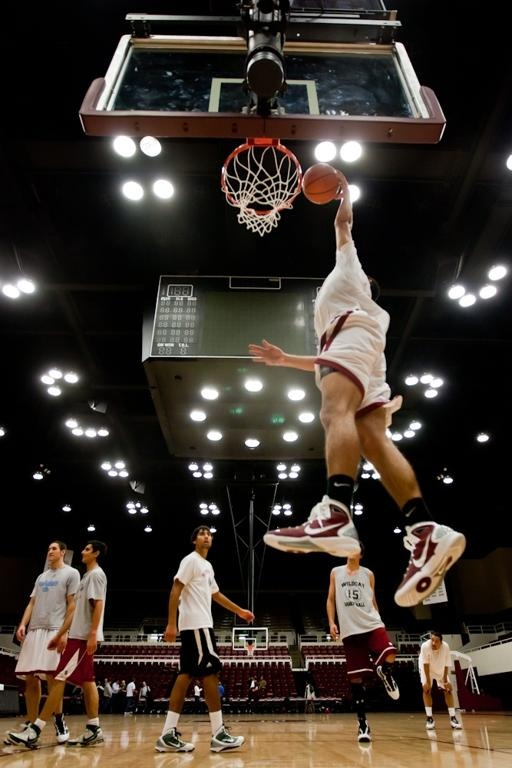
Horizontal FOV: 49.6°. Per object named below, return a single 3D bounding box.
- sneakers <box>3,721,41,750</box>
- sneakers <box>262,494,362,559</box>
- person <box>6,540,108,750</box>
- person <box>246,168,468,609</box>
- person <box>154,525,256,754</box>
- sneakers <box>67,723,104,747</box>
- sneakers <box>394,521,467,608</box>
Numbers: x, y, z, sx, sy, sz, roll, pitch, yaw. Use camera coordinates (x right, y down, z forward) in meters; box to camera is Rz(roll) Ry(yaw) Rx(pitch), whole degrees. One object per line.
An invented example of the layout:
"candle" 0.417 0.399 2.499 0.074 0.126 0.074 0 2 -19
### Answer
"sneakers" -1.349 2.010 3.199 0.183 0.121 0.360 8 -32 -20
"sneakers" 0.170 0.548 1.983 0.408 0.277 0.156 2 -50 10
"person" -1.263 1.668 3.835 0.455 1.376 0.938 0 -30 -6
"person" 0.356 -0.109 2.339 0.667 1.927 0.366 5 -31 -14
"person" -0.314 1.484 3.510 0.545 1.346 1.033 1 -30 -6
"sneakers" -1.076 2.231 3.535 0.244 0.152 0.077 1 -53 -16
"sneakers" 0.632 0.617 1.989 0.296 0.284 0.215 -23 -36 30
